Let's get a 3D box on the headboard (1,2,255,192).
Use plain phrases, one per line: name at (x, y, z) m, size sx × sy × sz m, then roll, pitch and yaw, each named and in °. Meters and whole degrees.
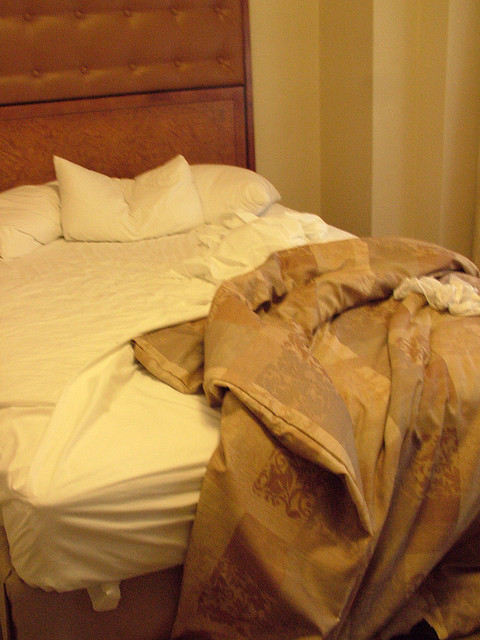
headboard at (-0.485, -1.014, 2.534) m, size 1.315 × 0.808 × 0.417 m, roll -15°, pitch 29°, yaw -29°
